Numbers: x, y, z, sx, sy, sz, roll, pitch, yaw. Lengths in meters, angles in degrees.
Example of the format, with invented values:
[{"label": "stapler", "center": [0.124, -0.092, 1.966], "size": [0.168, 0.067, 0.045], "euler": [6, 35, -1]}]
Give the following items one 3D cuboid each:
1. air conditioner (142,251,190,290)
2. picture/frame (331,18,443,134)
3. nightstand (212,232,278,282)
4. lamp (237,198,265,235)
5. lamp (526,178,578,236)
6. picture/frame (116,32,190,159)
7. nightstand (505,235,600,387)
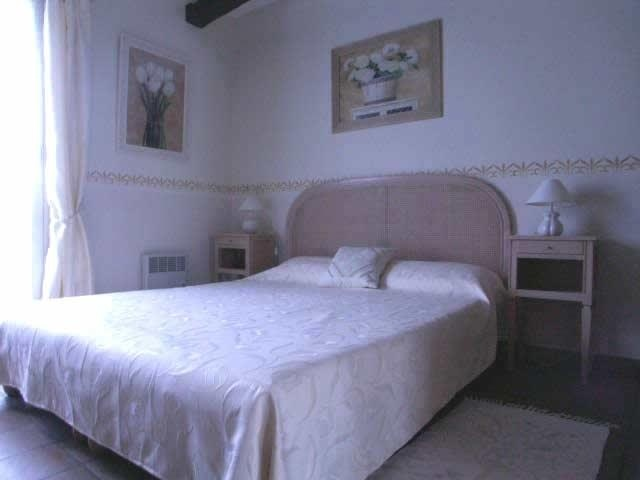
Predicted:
[{"label": "air conditioner", "center": [-1.569, 0.304, 4.820], "size": [0.155, 0.343, 0.350], "euler": [-5, -5, 42]}, {"label": "picture/frame", "center": [0.671, -1.536, 4.494], "size": [1.212, 0.898, 0.047], "euler": [1, 4, 39]}, {"label": "nightstand", "center": [-0.848, 0.232, 5.253], "size": [0.600, 0.604, 0.422], "euler": [2, 2, 40]}, {"label": "lamp", "center": [-0.743, -0.277, 5.324], "size": [0.330, 0.417, 0.351], "euler": [-1, 4, -35]}, {"label": "lamp", "center": [1.696, -0.215, 3.726], "size": [0.414, 0.518, 0.429], "euler": [1, -2, 12]}, {"label": "picture/frame", "center": [-1.698, -1.434, 4.839], "size": [0.144, 1.110, 0.820], "euler": [5, 10, 33]}, {"label": "nightstand", "center": [1.725, 0.444, 3.634], "size": [0.635, 0.990, 0.540], "euler": [4, 9, 30]}]
